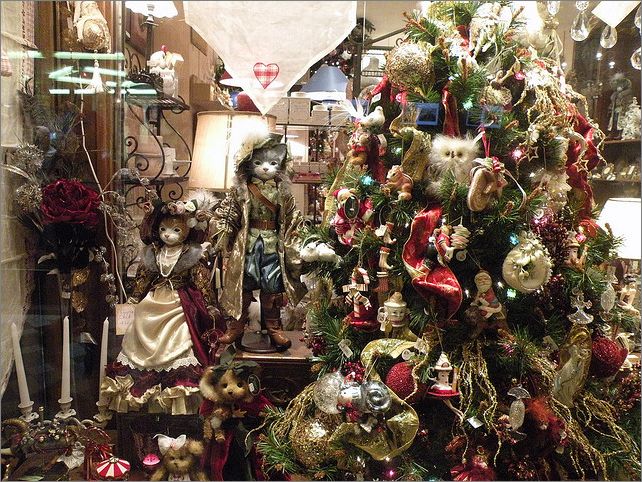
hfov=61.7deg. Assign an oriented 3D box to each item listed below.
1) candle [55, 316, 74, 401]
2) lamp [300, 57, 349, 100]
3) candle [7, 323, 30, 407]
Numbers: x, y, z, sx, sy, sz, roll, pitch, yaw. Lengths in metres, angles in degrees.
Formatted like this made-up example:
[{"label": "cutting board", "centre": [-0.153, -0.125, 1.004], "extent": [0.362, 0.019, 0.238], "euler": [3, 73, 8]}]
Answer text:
[{"label": "candle", "centre": [-1.202, 0.554, 2.535], "extent": [0.047, 0.445, 0.384], "euler": [0, 8, -25]}, {"label": "lamp", "centre": [0.019, -1.013, 3.379], "extent": [0.304, 0.270, 0.410], "euler": [3, 7, 1]}, {"label": "candle", "centre": [-1.332, 0.562, 2.390], "extent": [0.080, 0.410, 0.266], "euler": [-1, 8, -30]}]
